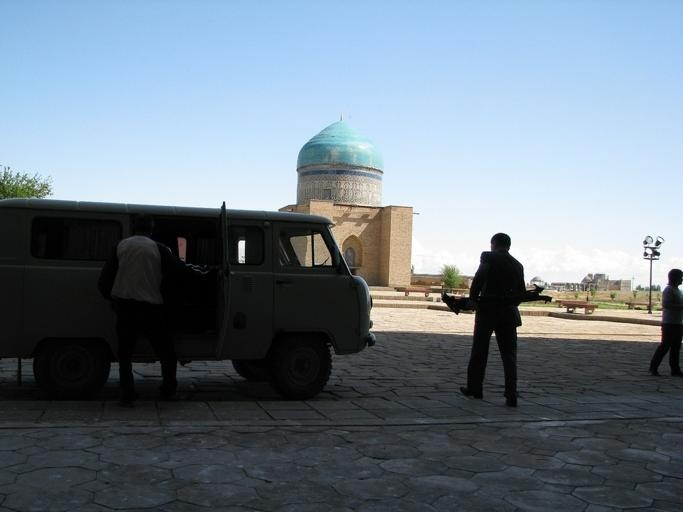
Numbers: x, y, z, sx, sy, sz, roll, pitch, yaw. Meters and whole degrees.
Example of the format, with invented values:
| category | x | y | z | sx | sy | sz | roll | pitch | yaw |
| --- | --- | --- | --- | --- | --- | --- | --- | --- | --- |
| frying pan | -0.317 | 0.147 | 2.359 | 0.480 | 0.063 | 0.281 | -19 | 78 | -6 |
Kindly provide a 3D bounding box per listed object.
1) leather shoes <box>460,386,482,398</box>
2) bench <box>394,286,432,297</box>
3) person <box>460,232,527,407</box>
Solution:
| category | x | y | z | sx | sy | sz | roll | pitch | yaw |
| --- | --- | --- | --- | --- | --- | --- | --- | --- | --- |
| leather shoes | 1.499 | 1.573 | 6.795 | 0.097 | 0.088 | 0.248 | -5 | 11 | -40 |
| bench | 4.358 | 2.064 | 35.256 | 1.862 | 0.450 | 3.194 | 2 | -1 | 22 |
| person | 1.712 | 0.672 | 6.479 | 0.617 | 1.877 | 0.786 | 3 | -2 | 12 |
